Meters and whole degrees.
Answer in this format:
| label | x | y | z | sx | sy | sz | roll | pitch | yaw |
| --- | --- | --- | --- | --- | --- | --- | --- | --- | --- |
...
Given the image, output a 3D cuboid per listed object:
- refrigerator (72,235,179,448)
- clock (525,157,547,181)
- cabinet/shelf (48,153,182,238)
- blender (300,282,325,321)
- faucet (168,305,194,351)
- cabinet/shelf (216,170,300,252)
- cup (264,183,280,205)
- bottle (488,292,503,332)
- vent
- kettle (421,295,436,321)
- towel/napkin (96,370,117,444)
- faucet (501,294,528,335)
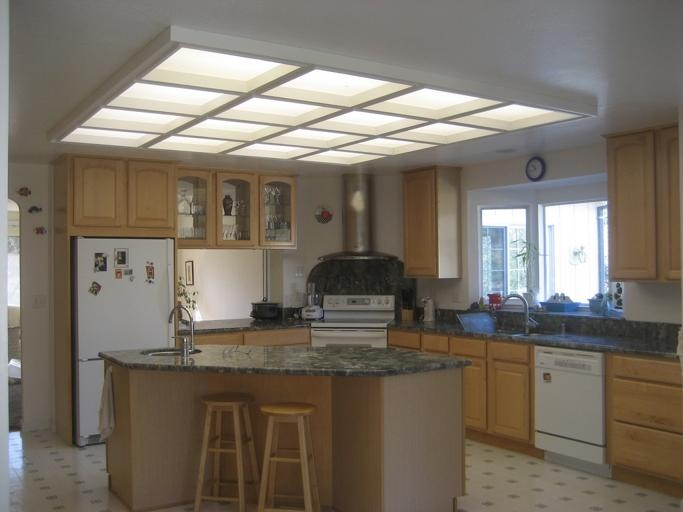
| label | x | y | z | sx | sy | sz | roll | pitch | yaw |
| --- | --- | --- | --- | --- | --- | --- | --- | --- | --- |
| refrigerator | -2.389 | 0.884 | 6.049 | 1.040 | 2.158 | 0.789 | -2 | 7 | -28 |
| clock | 2.039 | -0.917 | 5.844 | 0.058 | 0.296 | 0.252 | 4 | 1 | -32 |
| cabinet/shelf | -2.179 | -0.648 | 6.003 | 1.139 | 0.822 | 0.629 | 4 | 9 | 5 |
| blender | -0.365 | 0.568 | 7.037 | 0.294 | 0.455 | 0.289 | 0 | 2 | -10 |
| faucet | -1.298 | 0.595 | 4.594 | 0.218 | 0.463 | 0.084 | -7 | 31 | -23 |
| cabinet/shelf | -1.027 | -0.567 | 6.648 | 0.903 | 0.794 | 0.295 | 1 | -4 | -30 |
| cup | -0.827 | -0.752 | 6.794 | 0.206 | 0.212 | 0.215 | 0 | -7 | 0 |
| bottle | 1.713 | 0.596 | 6.215 | 0.163 | 0.290 | 0.504 | -1 | 0 | 16 |
| vent | 0.230 | -0.495 | 6.982 | 1.090 | 1.102 | 0.984 | -1 | -1 | -4 |
| kettle | 1.066 | 0.642 | 6.825 | 0.156 | 0.234 | 0.470 | -1 | 0 | 8 |
| towel/napkin | -1.846 | 1.178 | 4.413 | 0.111 | 0.608 | 0.285 | -2 | 0 | -23 |
| faucet | 1.855 | 0.580 | 5.948 | 0.281 | 0.307 | 0.881 | -1 | 0 | 16 |
